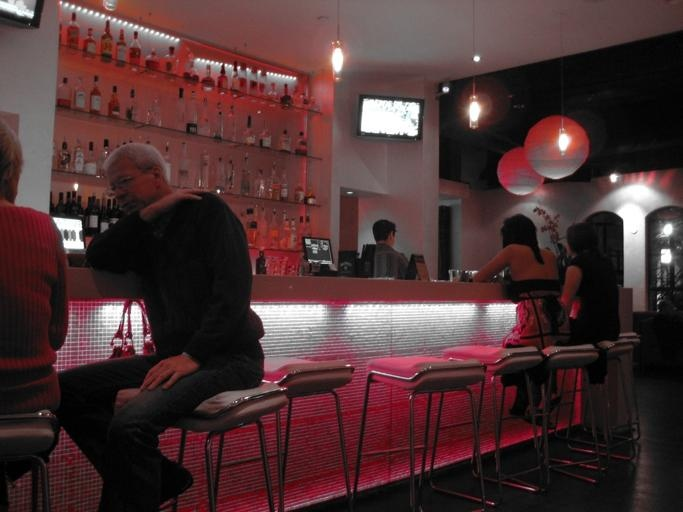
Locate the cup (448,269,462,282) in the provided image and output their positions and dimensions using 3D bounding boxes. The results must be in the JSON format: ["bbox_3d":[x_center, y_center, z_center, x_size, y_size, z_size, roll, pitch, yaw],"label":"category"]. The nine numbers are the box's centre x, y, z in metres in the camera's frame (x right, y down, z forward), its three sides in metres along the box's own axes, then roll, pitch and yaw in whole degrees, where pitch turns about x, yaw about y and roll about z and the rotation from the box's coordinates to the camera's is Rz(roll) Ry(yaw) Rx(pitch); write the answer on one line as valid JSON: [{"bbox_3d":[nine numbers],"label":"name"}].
[{"bbox_3d":[0.971,0.160,4.590,0.091,0.090,0.400,1,-2,12],"label":"cup"}]

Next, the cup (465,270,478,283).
[{"bbox_3d":[1.081,0.147,4.534,0.104,0.061,0.157,1,8,16],"label":"cup"}]

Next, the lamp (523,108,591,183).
[{"bbox_3d":[2.081,-1.015,5.061,0.519,0.682,0.560,-1,4,0],"label":"lamp"}]

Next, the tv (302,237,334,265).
[{"bbox_3d":[-0.208,-0.042,4.630,0.023,0.173,0.222,-15,-16,38],"label":"tv"}]

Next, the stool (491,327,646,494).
[{"bbox_3d":[1.891,0.790,4.493,0.926,1.405,1.740,-4,-6,34],"label":"stool"}]

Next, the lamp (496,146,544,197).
[{"bbox_3d":[2.107,-0.948,6.371,0.485,0.641,0.521,1,-3,7],"label":"lamp"}]

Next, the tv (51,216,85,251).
[{"bbox_3d":[-1.557,-0.129,3.094,0.164,0.212,0.203,-6,-6,41],"label":"tv"}]
